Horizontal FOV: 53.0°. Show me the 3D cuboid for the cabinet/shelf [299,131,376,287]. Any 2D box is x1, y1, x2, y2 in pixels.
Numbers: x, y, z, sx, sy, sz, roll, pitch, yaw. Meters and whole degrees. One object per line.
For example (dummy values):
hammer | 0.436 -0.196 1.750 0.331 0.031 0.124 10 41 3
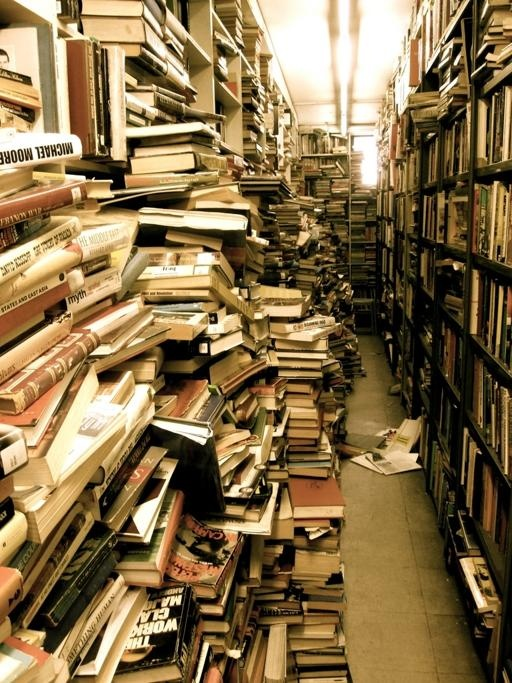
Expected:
cabinet/shelf | 1.190 -1.980 7.474 0.825 2.644 2.586 -2 14 8
